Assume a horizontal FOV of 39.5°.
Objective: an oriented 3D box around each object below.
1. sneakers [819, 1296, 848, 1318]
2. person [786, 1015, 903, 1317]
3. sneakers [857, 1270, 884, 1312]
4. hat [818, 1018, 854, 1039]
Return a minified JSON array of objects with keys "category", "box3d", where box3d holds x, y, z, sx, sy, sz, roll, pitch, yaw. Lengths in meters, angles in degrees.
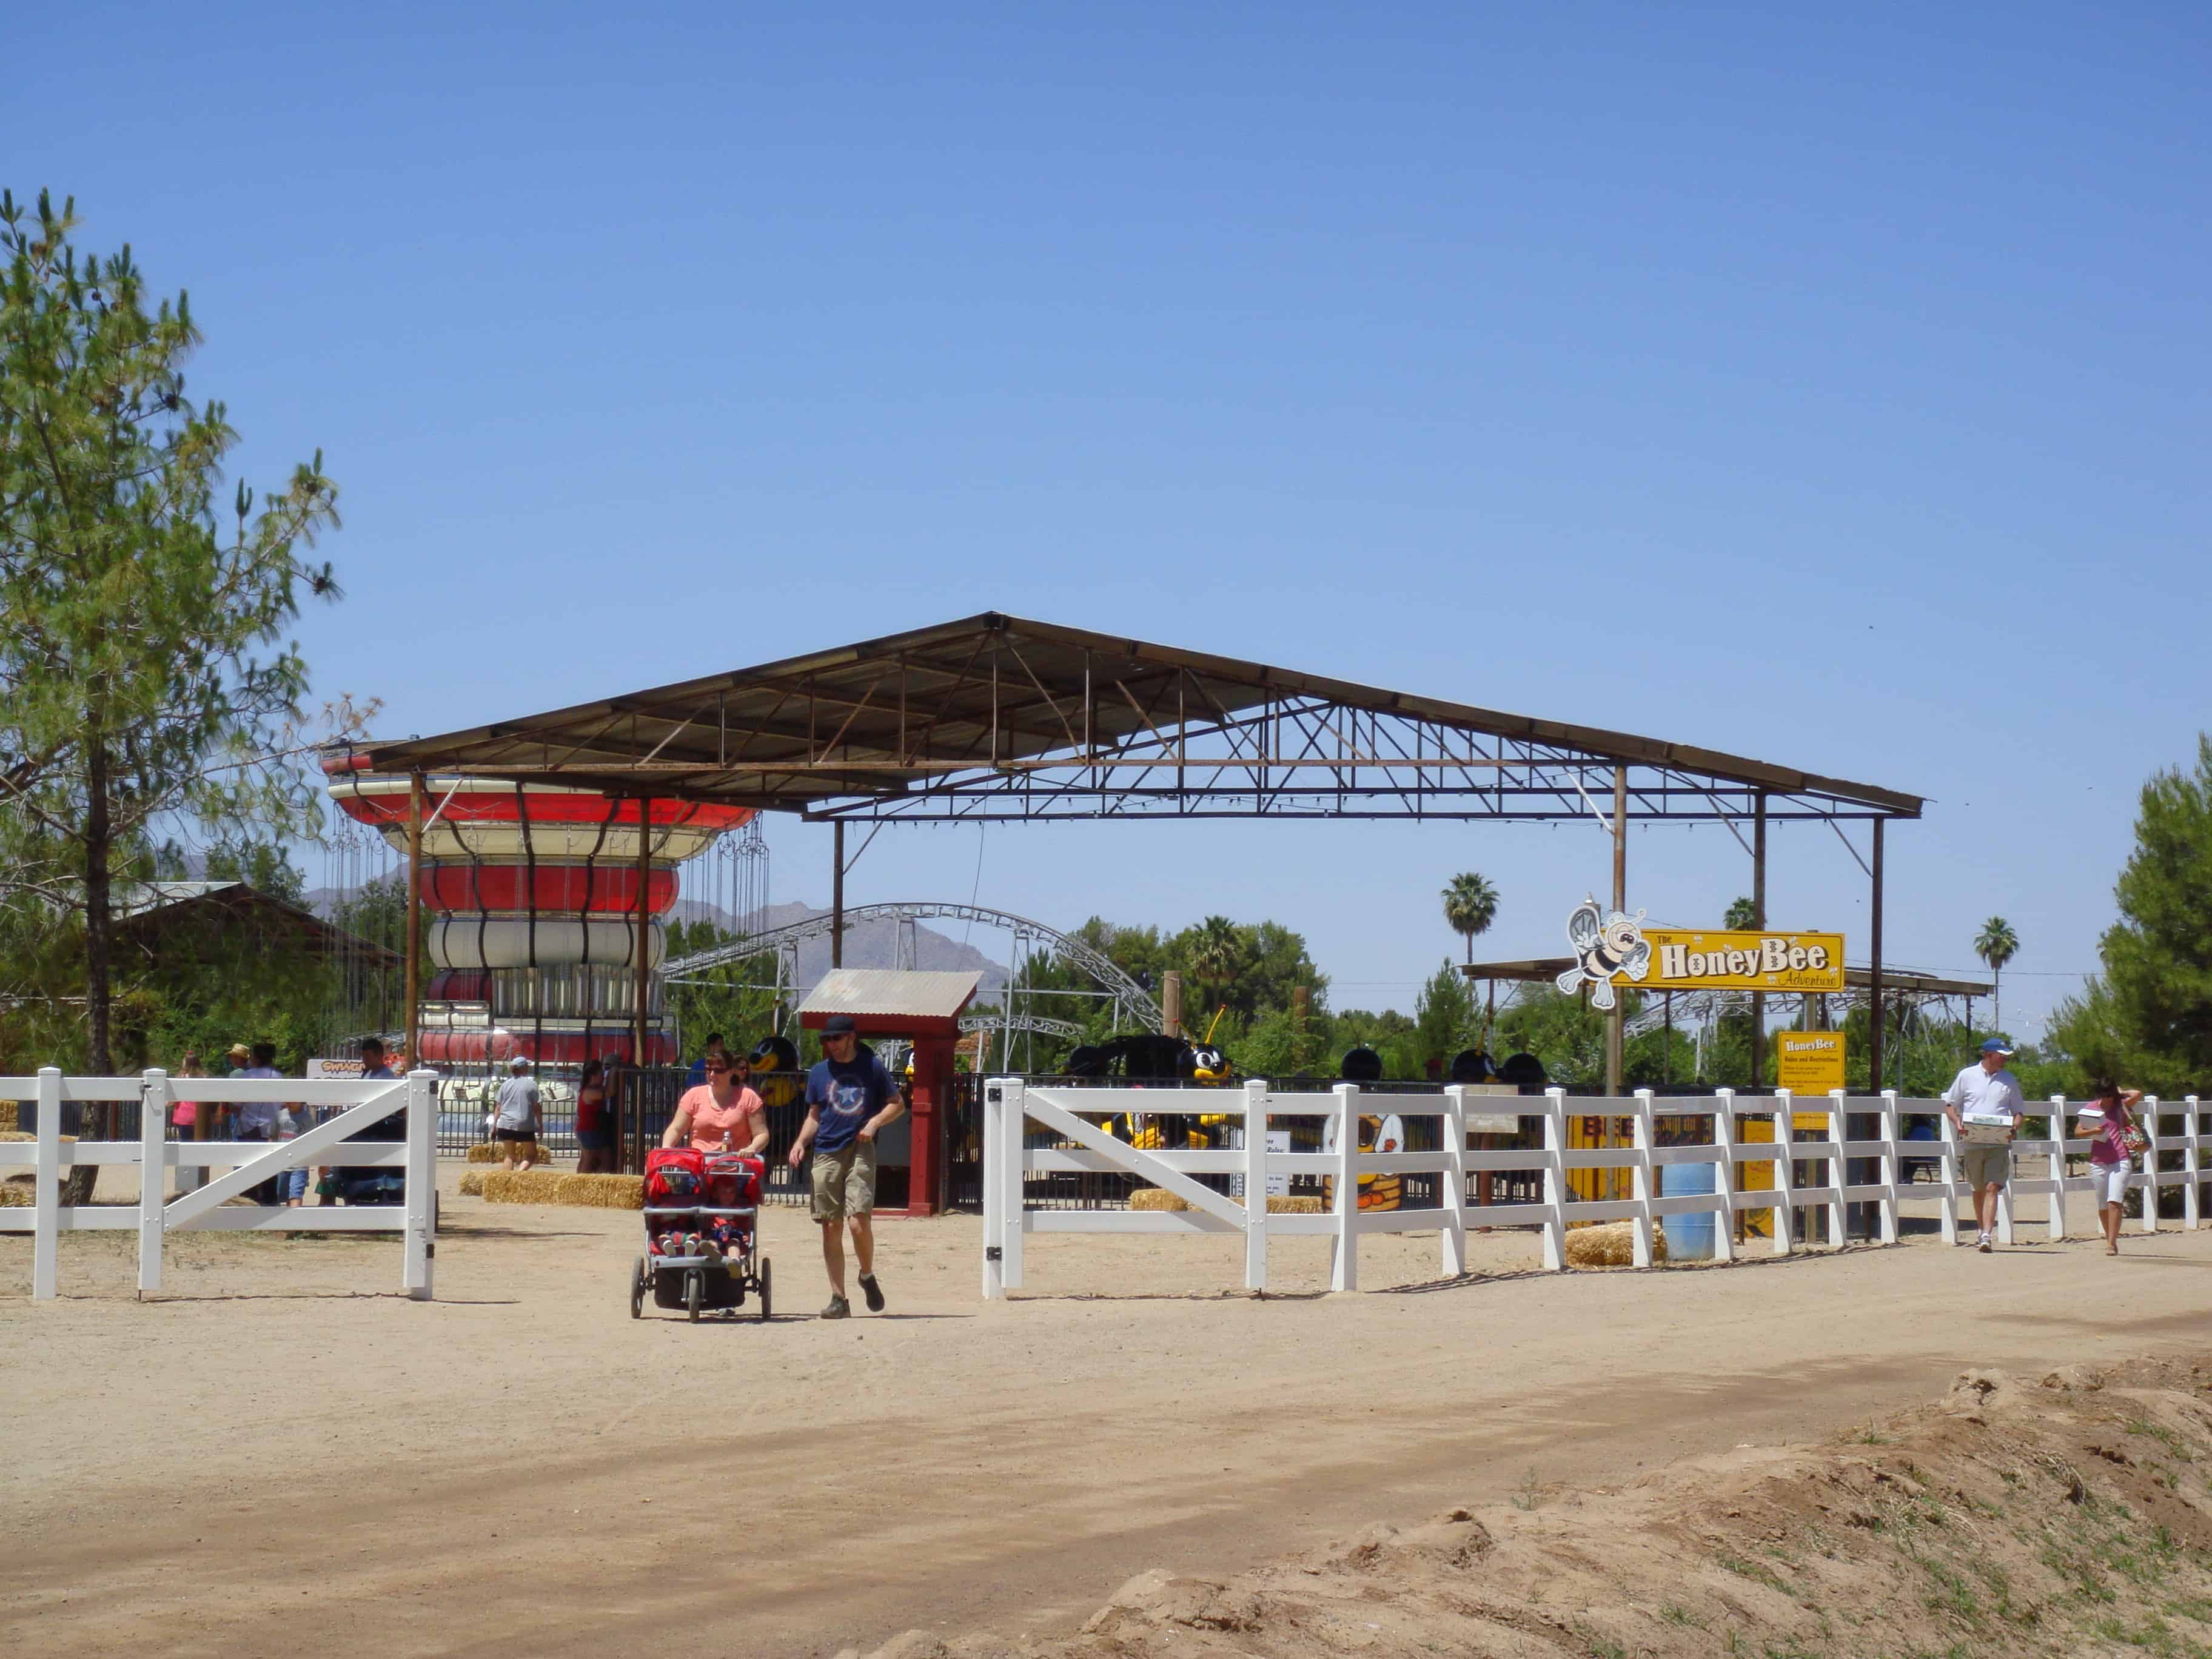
[{"category":"sneakers","box3d":[-1.978,3.481,22.615,0.211,0.144,0.366,1,-9,-8]},{"category":"person","box3d":[-1.947,2.493,22.813,0.724,2.159,0.849,3,-9,-21]},{"category":"sneakers","box3d":[-1.752,3.420,22.934,0.131,0.418,0.155,-9,1,-8]},{"category":"hat","box3d":[-1.959,1.443,22.703,0.189,0.159,0.398,1,-9,-7]}]
